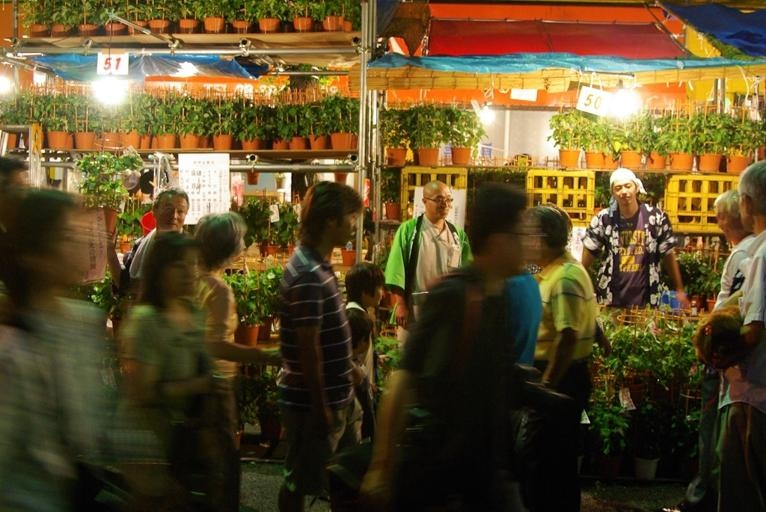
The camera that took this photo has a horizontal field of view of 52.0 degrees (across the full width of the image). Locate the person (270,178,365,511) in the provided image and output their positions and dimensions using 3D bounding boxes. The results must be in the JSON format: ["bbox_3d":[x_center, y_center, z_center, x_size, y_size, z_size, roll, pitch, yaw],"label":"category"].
[{"bbox_3d":[-0.444,0.621,5.431,0.593,2.097,0.335,4,1,-5],"label":"person"}]

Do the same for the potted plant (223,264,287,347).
[{"bbox_3d":[-1.195,0.403,7.914,0.838,0.971,0.717,0,-5,-10],"label":"potted plant"}]

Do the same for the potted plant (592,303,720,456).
[{"bbox_3d":[2.387,1.097,7.513,1.258,1.731,1.093,-1,8,1],"label":"potted plant"}]

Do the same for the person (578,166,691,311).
[{"bbox_3d":[2.697,0.220,8.642,1.122,2.375,0.623,0,23,17],"label":"person"}]

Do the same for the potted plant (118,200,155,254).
[{"bbox_3d":[-2.799,-0.330,8.892,0.393,0.365,0.463,7,38,-4],"label":"potted plant"}]

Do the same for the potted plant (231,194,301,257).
[{"bbox_3d":[-1.446,-0.398,9.672,0.912,1.028,0.718,1,-1,-24],"label":"potted plant"}]
